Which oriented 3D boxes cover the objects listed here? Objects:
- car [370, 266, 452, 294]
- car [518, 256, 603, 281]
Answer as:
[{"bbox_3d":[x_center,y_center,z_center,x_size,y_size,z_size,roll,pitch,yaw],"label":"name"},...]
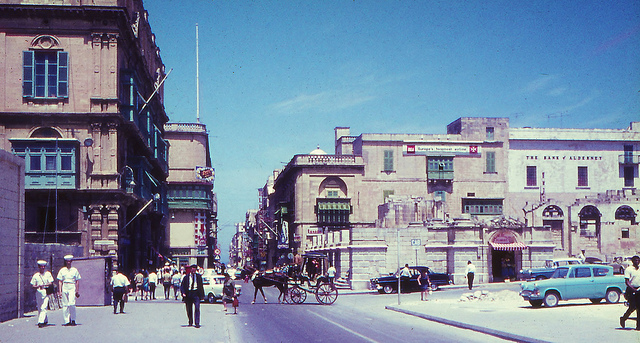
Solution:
[{"bbox_3d":[10.199,11.773,98.009,9.306,2.508,3.780,-9,-6,18],"label":"car"},{"bbox_3d":[26.408,10.213,93.400,8.223,2.333,3.281,-13,-5,38],"label":"car"}]
